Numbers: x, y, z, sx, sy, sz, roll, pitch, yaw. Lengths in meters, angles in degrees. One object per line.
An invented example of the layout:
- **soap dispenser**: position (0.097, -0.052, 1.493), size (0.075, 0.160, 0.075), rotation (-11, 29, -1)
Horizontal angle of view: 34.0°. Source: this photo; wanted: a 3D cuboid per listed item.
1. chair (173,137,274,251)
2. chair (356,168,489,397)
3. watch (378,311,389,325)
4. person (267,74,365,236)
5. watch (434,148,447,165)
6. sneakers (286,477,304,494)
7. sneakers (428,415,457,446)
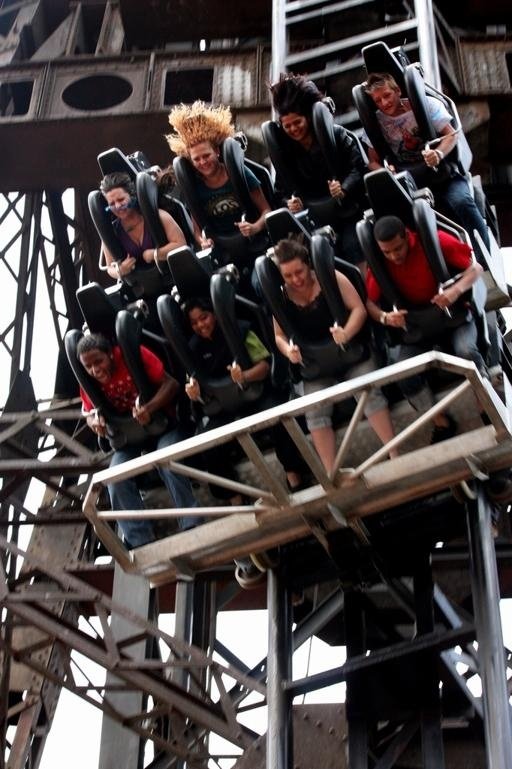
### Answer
- **chair**: position (-0.217, -1.231, 5.485), size (0.459, 0.605, 0.692), rotation (-33, -45, 16)
- **chair**: position (0.857, -0.572, 4.357), size (0.599, 1.309, 0.688), rotation (-12, -23, 24)
- **watch**: position (0.662, -0.346, 4.324), size (0.021, 0.055, 0.044), rotation (-5, -33, -12)
- **person**: position (0.313, -1.468, 5.311), size (0.581, 0.909, 0.778), rotation (-22, 2, 5)
- **watch**: position (1.122, -1.403, 5.095), size (0.079, 0.095, 0.107), rotation (-2, -48, 10)
- **sneakers**: position (0.234, 0.590, 4.745), size (0.084, 0.087, 0.257), rotation (-4, -22, 3)
- **sneakers**: position (1.005, 0.250, 4.490), size (0.073, 0.206, 0.106), rotation (5, 11, -37)
